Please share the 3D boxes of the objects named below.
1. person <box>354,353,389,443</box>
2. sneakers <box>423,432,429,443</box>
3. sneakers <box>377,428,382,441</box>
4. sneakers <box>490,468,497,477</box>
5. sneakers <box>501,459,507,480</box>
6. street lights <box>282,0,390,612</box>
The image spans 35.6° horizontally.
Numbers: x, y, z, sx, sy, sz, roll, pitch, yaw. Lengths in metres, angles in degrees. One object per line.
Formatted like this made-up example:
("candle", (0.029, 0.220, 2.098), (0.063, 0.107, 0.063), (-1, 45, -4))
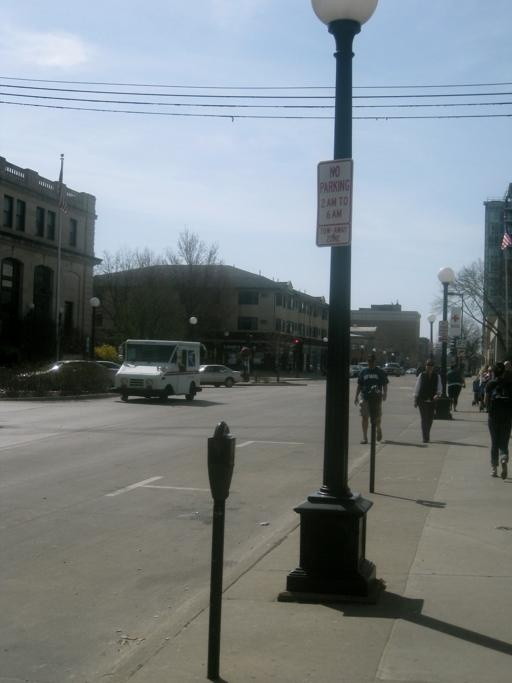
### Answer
("person", (2.128, 1.033, 14.688), (0.473, 1.859, 0.458), (-1, 26, 5))
("sneakers", (3.180, 1.804, 14.953), (0.118, 0.271, 0.112), (1, -3, -38))
("sneakers", (2.168, 1.634, 13.957), (0.064, 0.334, 0.099), (1, 0, 8))
("sneakers", (3.114, 1.721, 10.413), (0.047, 0.156, 0.127), (0, -11, 5))
("sneakers", (3.163, 1.618, 10.160), (0.065, 0.269, 0.153), (2, 0, 12))
("street lights", (0.538, -0.338, 5.132), (0.590, 3.880, 0.737), (1, 0, 9))
